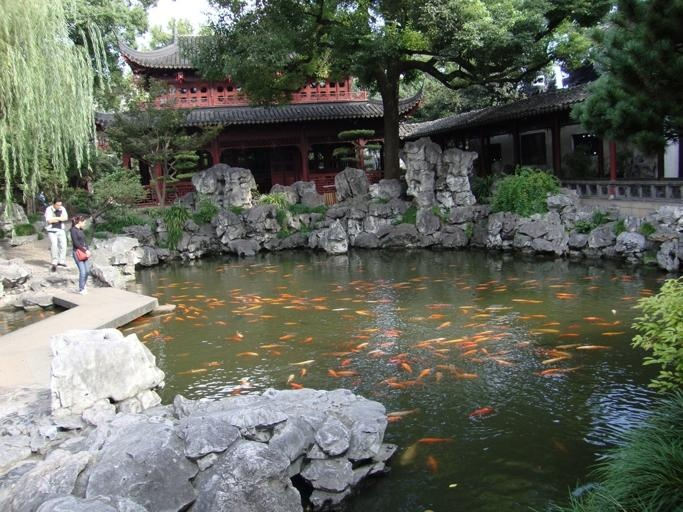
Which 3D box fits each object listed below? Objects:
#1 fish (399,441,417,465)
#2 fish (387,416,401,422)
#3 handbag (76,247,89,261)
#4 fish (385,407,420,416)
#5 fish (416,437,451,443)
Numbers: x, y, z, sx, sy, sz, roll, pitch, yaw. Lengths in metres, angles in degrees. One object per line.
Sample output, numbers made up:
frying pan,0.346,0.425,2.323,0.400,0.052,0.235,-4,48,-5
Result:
fish,0.722,2.131,5.595,0.155,0.070,0.340,14,3,12
fish,0.622,1.931,6.153,0.173,0.045,0.061,-1,-30,2
handbag,-5.118,-0.031,10.266,0.099,0.219,0.245,-15,-12,31
fish,0.735,1.888,6.288,0.450,0.140,0.072,-6,-34,5
fish,1.023,2.046,5.765,0.345,0.032,0.109,-3,6,7
